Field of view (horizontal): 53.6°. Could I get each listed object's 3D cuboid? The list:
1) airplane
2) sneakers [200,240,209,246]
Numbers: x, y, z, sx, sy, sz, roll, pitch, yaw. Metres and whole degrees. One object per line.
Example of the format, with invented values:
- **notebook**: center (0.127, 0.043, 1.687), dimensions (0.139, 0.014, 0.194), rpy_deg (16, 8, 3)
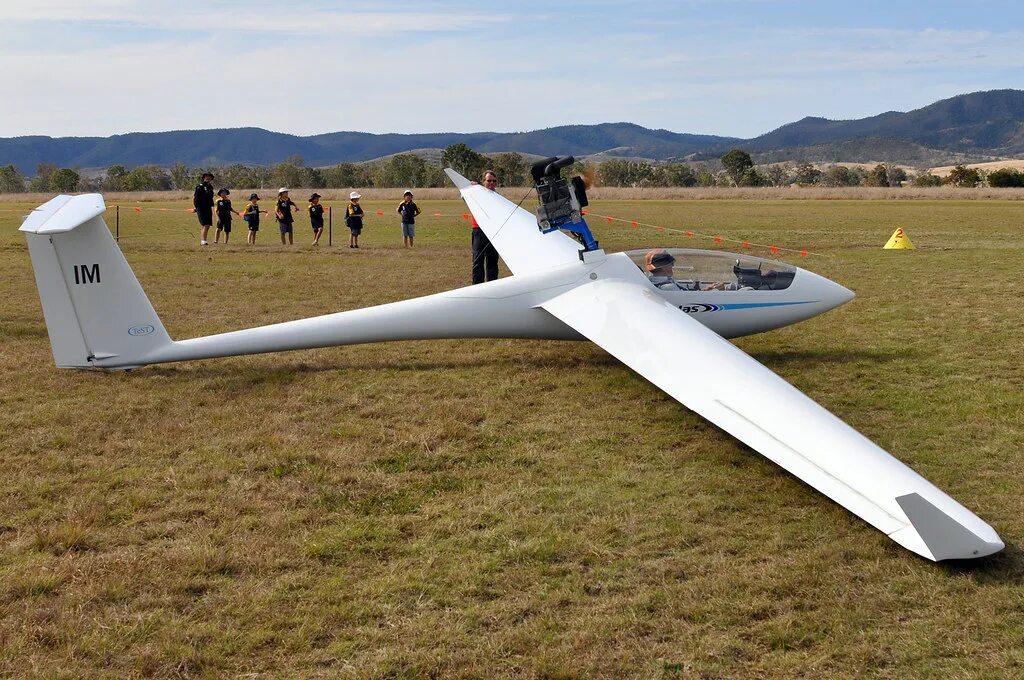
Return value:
- **airplane**: center (0.648, -0.389, 15.834), dimensions (12.663, 4.275, 6.914), rpy_deg (4, 16, 23)
- **sneakers**: center (-9.402, -2.962, 30.880), dimensions (0.156, 0.134, 0.399), rpy_deg (-1, 0, -24)
